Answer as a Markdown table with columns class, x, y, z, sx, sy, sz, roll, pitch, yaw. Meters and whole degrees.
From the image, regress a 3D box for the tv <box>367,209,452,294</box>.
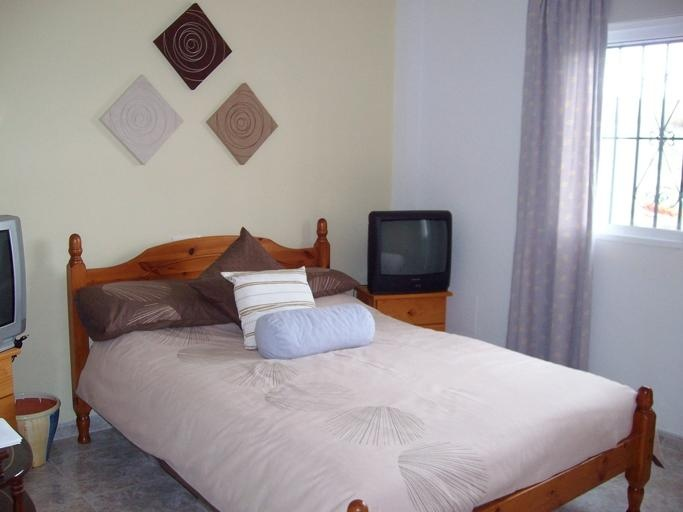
| class | x | y | z | sx | sy | sz | roll | pitch | yaw |
| --- | --- | --- | --- | --- | --- | --- | --- | --- | --- |
| tv | 0.500 | 0.004 | 4.278 | 0.848 | 0.895 | 0.560 | -1 | 3 | -15 |

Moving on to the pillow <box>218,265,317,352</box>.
| class | x | y | z | sx | sy | sz | roll | pitch | yaw |
| --- | --- | --- | --- | --- | --- | --- | --- | --- | --- |
| pillow | -0.411 | 0.342 | 3.063 | 0.605 | 0.188 | 0.647 | -8 | 49 | -32 |
